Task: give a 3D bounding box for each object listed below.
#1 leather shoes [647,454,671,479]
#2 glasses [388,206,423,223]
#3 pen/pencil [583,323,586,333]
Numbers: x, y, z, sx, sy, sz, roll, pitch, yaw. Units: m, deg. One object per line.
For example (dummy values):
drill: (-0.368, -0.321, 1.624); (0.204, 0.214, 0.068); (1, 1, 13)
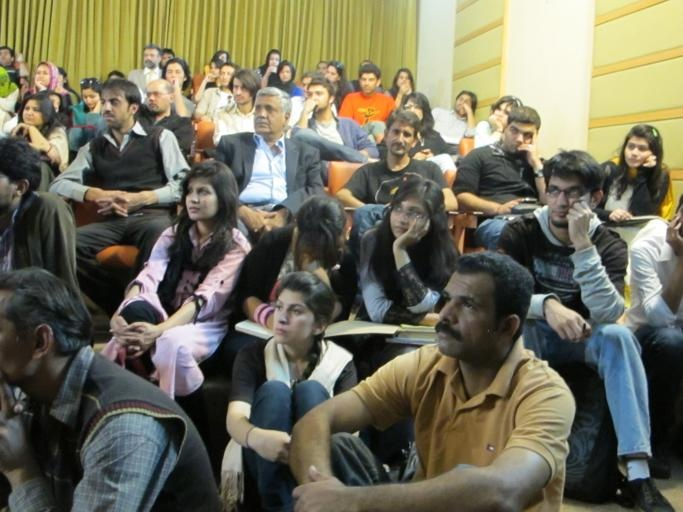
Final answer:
leather shoes: (1.354, 0.887, 2.679); (0.103, 0.108, 0.111); (0, -6, 2)
glasses: (0.291, -0.188, 2.777); (0.090, 0.036, 0.071); (24, 1, 29)
pen/pencil: (0.953, 0.283, 2.450); (0.009, 0.039, 0.007); (-1, -19, 17)
